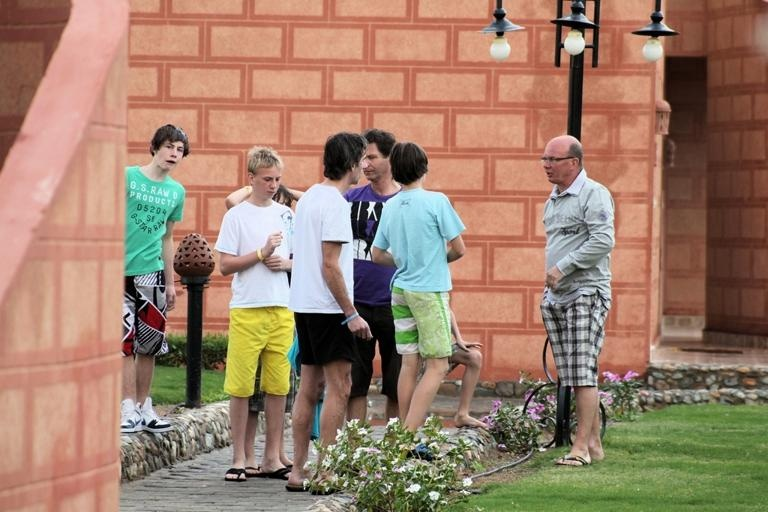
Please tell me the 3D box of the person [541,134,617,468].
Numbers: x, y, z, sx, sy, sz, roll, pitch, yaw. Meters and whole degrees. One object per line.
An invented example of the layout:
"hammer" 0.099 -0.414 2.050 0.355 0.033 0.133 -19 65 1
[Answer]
"person" 1.785 0.390 12.942 0.656 3.056 0.517 -1 -8 6

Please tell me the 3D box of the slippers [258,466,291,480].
"slippers" -0.959 1.890 12.270 0.289 0.081 0.107 -3 -4 16

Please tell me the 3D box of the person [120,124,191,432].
"person" -2.067 0.187 12.617 0.515 2.756 0.540 2 -8 -9

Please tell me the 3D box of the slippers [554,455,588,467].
"slippers" 1.734 1.858 12.758 0.194 0.052 0.122 -1 5 -27

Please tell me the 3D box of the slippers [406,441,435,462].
"slippers" 0.332 1.701 12.078 0.200 0.091 0.273 7 -4 -3

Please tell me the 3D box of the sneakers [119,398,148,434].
"sneakers" -2.256 1.422 12.555 0.093 0.292 0.235 -4 -9 27

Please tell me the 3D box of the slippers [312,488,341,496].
"slippers" -0.490 1.952 11.659 0.225 0.058 0.303 1 -8 -2

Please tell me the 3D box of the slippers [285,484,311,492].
"slippers" -0.734 1.961 11.861 0.137 0.037 0.074 5 2 14
